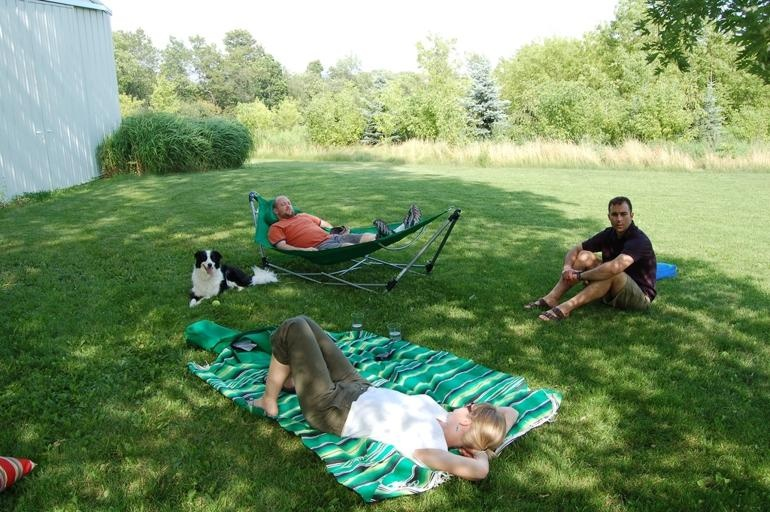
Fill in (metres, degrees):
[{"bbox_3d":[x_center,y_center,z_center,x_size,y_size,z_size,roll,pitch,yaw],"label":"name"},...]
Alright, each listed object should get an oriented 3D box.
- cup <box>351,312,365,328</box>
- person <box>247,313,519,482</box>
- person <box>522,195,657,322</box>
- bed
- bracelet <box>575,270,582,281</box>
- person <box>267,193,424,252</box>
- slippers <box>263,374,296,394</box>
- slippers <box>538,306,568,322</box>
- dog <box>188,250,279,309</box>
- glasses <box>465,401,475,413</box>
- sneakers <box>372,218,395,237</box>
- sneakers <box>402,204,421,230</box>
[{"bbox_3d":[-0.300,0.725,6.589,0.161,0.157,0.128,-1,7,6],"label":"cup"},{"bbox_3d":[-0.021,1.205,5.477,2.528,0.949,1.070,13,-7,13],"label":"person"},{"bbox_3d":[2.534,0.008,7.056,1.622,1.361,0.997,-7,12,-20],"label":"person"},{"bbox_3d":[-0.570,-0.124,8.048,2.633,1.090,1.561,4,10,24],"label":"bed"},{"bbox_3d":[2.304,0.233,6.889,0.079,0.082,0.083,-24,3,30],"label":"bracelet"},{"bbox_3d":[-0.746,-0.346,8.079,1.468,0.611,1.031,-6,9,22],"label":"person"},{"bbox_3d":[-0.941,1.259,5.534,0.264,0.239,0.081,2,-27,10],"label":"slippers"},{"bbox_3d":[1.966,0.669,6.807,0.314,0.130,0.141,1,16,14],"label":"slippers"},{"bbox_3d":[-2.020,0.246,7.475,0.645,0.436,0.959,-2,10,25],"label":"dog"},{"bbox_3d":[0.746,1.321,5.079,0.077,0.055,0.081,4,16,21],"label":"glasses"},{"bbox_3d":[-0.005,-0.356,7.509,0.178,0.134,0.419,-6,-21,26],"label":"sneakers"},{"bbox_3d":[0.375,-0.519,7.931,0.214,0.451,0.169,1,-2,20],"label":"sneakers"}]
